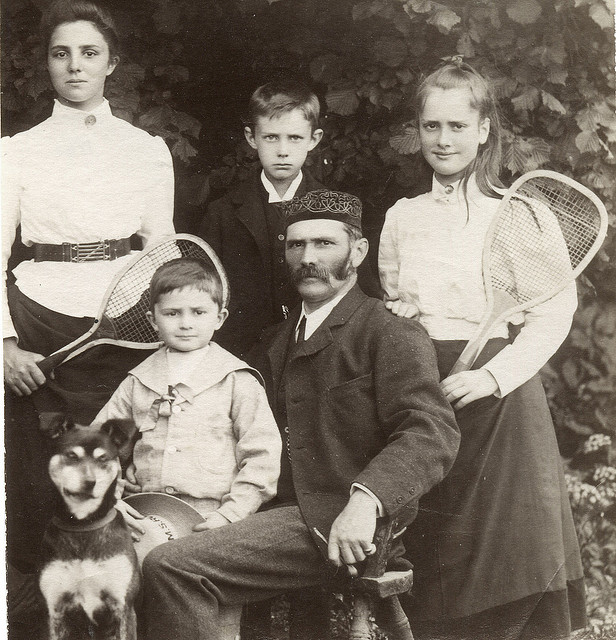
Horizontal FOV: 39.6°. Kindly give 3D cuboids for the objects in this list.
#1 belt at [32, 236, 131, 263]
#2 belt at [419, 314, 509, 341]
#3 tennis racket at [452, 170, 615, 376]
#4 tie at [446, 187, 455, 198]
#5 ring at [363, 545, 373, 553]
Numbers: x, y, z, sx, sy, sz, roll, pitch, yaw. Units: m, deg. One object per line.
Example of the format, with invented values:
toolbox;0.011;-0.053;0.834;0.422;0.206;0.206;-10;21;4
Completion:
belt;-0.955;-0.289;3.631;0.252;0.042;0.165;-3;-5;9
belt;0.649;0.041;3.564;0.381;0.099;0.062;6;20;3
tennis racket;0.933;-0.204;3.744;0.406;1.208;0.065;38;-5;9
tie;0.616;-0.549;3.679;0.066;0.045;0.013;1;-5;3
ring;0.209;0.789;2.949;0.035;0.025;0.008;-1;23;-23
